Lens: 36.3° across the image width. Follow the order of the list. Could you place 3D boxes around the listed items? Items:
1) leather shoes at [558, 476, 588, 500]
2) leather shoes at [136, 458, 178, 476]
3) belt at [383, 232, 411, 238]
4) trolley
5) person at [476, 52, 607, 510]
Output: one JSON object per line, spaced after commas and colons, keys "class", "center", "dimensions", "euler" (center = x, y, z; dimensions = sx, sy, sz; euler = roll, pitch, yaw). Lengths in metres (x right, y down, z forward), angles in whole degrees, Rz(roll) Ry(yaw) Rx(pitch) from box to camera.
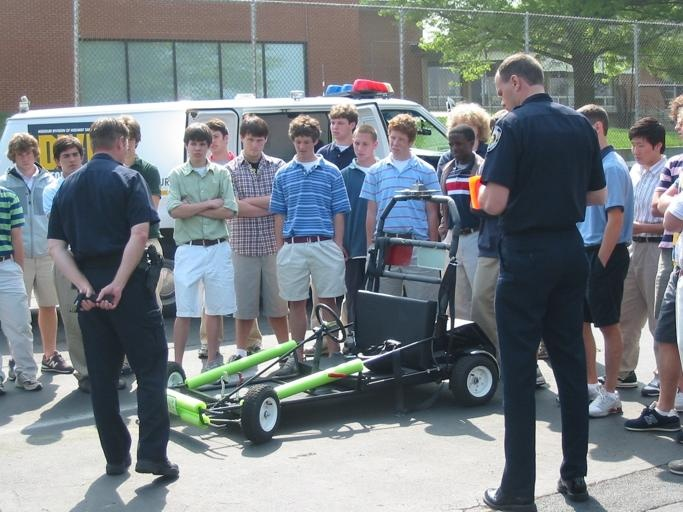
{"class": "leather shoes", "center": [1.749, 1.762, 7.868], "dimensions": [0.108, 0.113, 0.249], "euler": [-2, 7, -17]}
{"class": "leather shoes", "center": [-1.424, 1.667, 8.198], "dimensions": [0.383, 0.173, 0.126], "euler": [8, 9, -27]}
{"class": "belt", "center": [0.549, -0.209, 10.118], "dimensions": [0.220, 0.061, 0.052], "euler": [4, 2, 13]}
{"class": "trolley", "center": [-0.121, 0.468, 9.163], "dimensions": [3.165, 1.945, 1.578], "euler": [-3, 5, -39]}
{"class": "person", "center": [1.486, 0.168, 7.809], "dimensions": [0.864, 3.395, 0.741], "euler": [-1, 6, 11]}
